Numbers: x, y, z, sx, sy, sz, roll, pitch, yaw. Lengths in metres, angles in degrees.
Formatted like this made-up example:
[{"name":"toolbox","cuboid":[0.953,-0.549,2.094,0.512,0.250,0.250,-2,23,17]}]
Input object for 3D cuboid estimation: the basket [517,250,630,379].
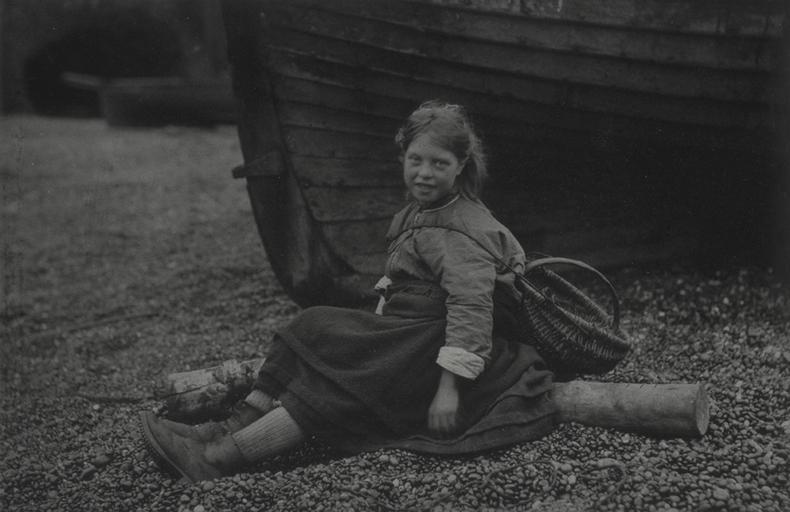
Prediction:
[{"name":"basket","cuboid":[0.947,0.360,5.258,0.619,0.690,0.333,-2,12,1]}]
